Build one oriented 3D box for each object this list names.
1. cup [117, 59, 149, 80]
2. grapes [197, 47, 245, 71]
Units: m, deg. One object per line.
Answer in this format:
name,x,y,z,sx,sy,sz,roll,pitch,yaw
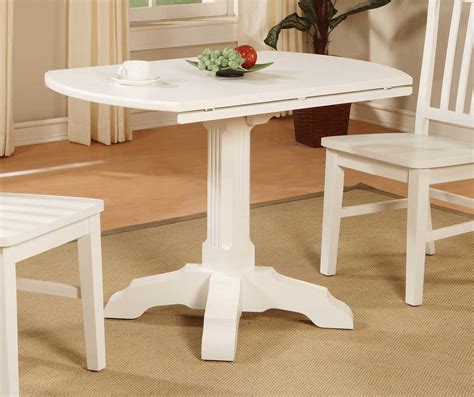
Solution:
cup,-0.265,-0.350,1.337,0.091,0.041,0.060,-11,27,-26
grapes,-0.050,-0.402,1.425,0.080,0.043,0.113,-4,13,0
